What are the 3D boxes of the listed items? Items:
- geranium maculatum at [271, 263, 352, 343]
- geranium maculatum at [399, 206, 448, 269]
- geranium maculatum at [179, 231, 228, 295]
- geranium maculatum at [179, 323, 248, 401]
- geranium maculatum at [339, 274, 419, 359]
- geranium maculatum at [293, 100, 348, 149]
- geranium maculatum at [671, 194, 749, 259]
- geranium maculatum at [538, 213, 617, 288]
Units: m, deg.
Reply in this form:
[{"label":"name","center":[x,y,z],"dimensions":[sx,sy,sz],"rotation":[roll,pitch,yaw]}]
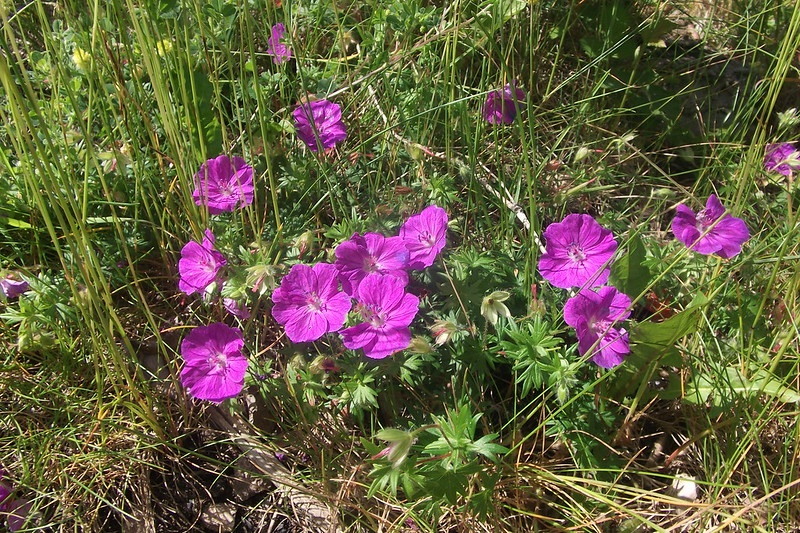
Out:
[{"label":"geranium maculatum","center":[-0.406,0.163,2.769],"dimensions":[0.309,0.131,0.375],"rotation":[-6,78,8]},{"label":"geranium maculatum","center":[0.115,-0.090,2.983],"dimensions":[0.219,0.318,0.239],"rotation":[-2,36,3]},{"label":"geranium maculatum","center":[-0.924,0.017,3.097],"dimensions":[0.251,0.115,0.285],"rotation":[17,83,23]},{"label":"geranium maculatum","center":[-0.850,0.439,2.883],"dimensions":[0.313,0.226,0.275],"rotation":[-6,36,-3]},{"label":"geranium maculatum","center":[-0.089,0.232,2.768],"dimensions":[0.278,0.247,0.305],"rotation":[15,40,24]},{"label":"geranium maculatum","center":[-0.446,-0.783,3.403],"dimensions":[0.326,0.200,0.347],"rotation":[8,14,21]},{"label":"geranium maculatum","center":[1.542,-0.239,3.150],"dimensions":[0.299,0.322,0.152],"rotation":[8,68,-38]},{"label":"geranium maculatum","center":[0.807,-0.064,2.917],"dimensions":[0.381,0.257,0.205],"rotation":[-22,39,-23]}]
